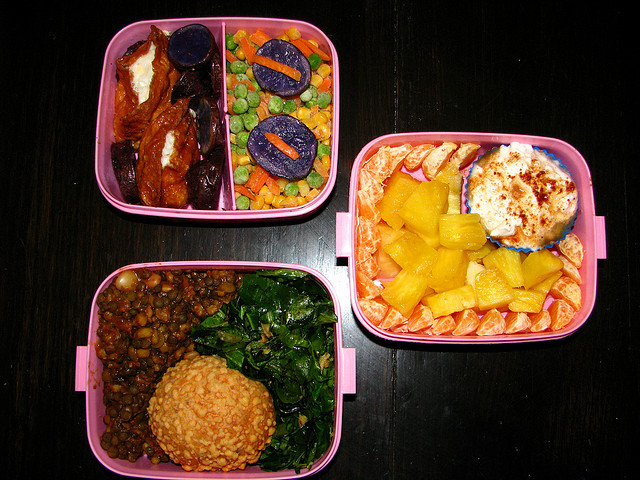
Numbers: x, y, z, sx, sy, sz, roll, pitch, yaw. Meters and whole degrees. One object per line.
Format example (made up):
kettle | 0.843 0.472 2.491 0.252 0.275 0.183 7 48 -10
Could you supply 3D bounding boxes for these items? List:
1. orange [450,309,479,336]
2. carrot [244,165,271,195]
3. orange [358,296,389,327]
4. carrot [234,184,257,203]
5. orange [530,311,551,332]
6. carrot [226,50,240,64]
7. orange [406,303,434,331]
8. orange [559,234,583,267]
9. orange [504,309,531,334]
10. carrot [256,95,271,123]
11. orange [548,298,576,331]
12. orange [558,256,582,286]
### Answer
orange | 0.753 0.440 3.244 0.097 0.047 0.140 39 96 21
carrot | -0.339 -0.329 3.373 0.095 0.047 0.174 26 88 -2
orange | 0.271 0.368 3.251 0.164 0.037 0.121 22 85 2
carrot | -0.403 -0.260 3.378 0.023 0.018 0.120 -44 86 0
orange | 1.152 0.433 3.281 0.128 0.027 0.079 -40 86 -4
carrot | -0.474 -1.000 3.454 0.026 0.120 0.037 -15 60 25
orange | 0.516 0.408 3.269 0.156 0.073 0.122 -26 85 -3
orange | 1.343 0.053 3.351 0.120 0.050 0.201 -6 49 14
orange | 1.040 0.438 3.302 0.145 0.109 0.120 2 84 0
carrot | -0.307 -0.726 3.414 0.099 0.049 0.132 0 101 14
orange | 1.261 0.385 3.312 0.153 0.268 0.074 -1 48 6
orange | 1.334 0.169 3.334 0.083 0.055 0.194 -19 75 -40
